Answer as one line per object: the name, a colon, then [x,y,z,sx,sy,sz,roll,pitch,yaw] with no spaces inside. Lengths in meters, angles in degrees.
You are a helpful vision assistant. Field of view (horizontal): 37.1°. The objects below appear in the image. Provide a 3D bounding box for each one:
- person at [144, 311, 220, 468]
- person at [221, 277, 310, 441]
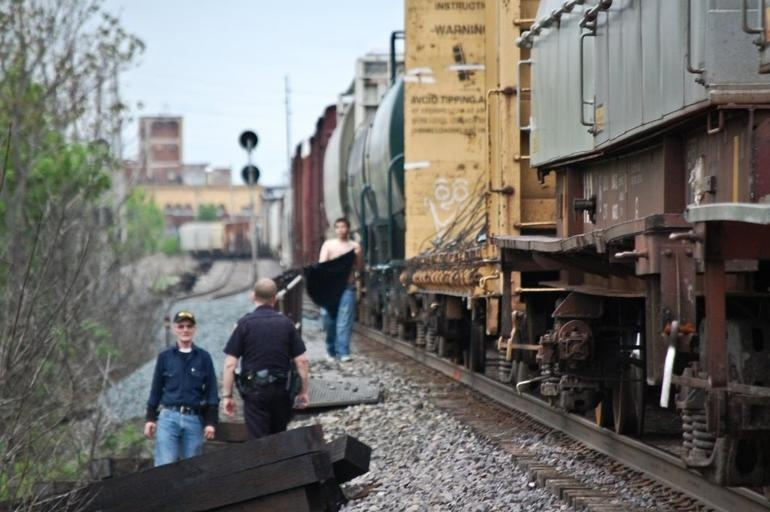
person: [-2.270,1.480,12.859,0.801,1.684,0.456,-1,3,-12]
person: [-1.432,1.549,13.522,0.981,2.664,0.978,-4,8,-25]
